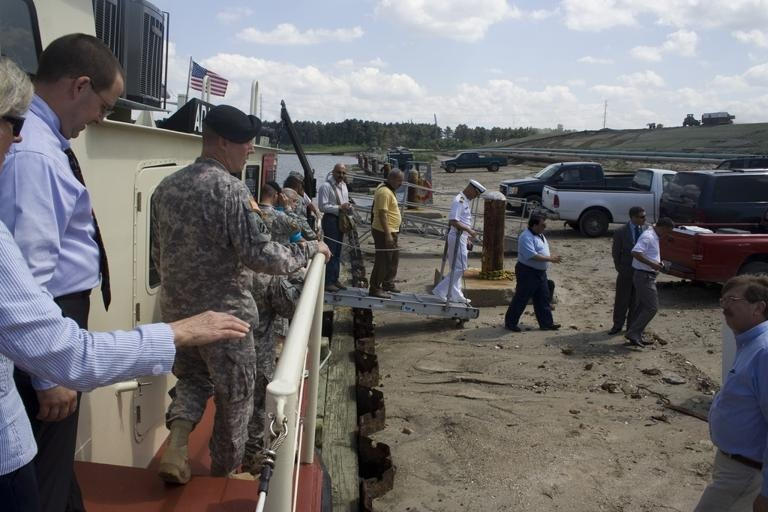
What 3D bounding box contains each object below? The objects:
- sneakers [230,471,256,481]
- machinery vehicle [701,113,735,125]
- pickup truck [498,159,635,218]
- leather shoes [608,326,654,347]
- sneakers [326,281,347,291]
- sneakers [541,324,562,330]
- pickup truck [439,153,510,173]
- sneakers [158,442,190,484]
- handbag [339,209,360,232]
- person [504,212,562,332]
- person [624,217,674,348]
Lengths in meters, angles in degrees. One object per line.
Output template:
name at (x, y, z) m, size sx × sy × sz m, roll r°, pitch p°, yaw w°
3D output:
sneakers at (-0.843, 1.311, 3.257) m, size 0.156 × 0.037 × 0.120 m, roll 3°, pitch -2°, yaw 0°
machinery vehicle at (46.826, -19.131, 76.382) m, size 3.421 × 1.640 × 1.522 m, roll 11°, pitch 18°, yaw 43°
pickup truck at (6.576, -2.269, 19.383) m, size 5.940 × 1.767 × 2.352 m, roll 2°, pitch 9°, yaw 3°
leather shoes at (3.937, 1.255, 8.460) m, size 0.772 × 0.259 × 0.210 m, roll -1°, pitch 17°, yaw 3°
sneakers at (-0.758, 0.497, 8.793) m, size 0.381 × 0.126 × 0.107 m, roll -3°, pitch 11°, yaw 4°
sneakers at (2.779, 1.181, 9.121) m, size 0.359 × 0.120 × 0.108 m, roll -8°, pitch 9°, yaw 8°
pickup truck at (7.476, -7.704, 44.486) m, size 5.173 × 1.293 × 2.076 m, roll 1°, pitch 11°, yaw 2°
sneakers at (-1.202, 1.213, 3.085) m, size 0.130 × 0.240 × 0.224 m, roll -4°, pitch 49°, yaw -2°
handbag at (-0.642, -0.652, 9.990) m, size 0.356 × 0.508 × 0.481 m, roll -3°, pitch 19°, yaw -10°
person at (2.518, 0.286, 9.045) m, size 0.883 × 1.924 × 0.783 m, roll 4°, pitch 16°, yaw 16°
person at (3.984, 0.401, 8.278) m, size 0.465 × 1.910 × 0.589 m, roll 7°, pitch 17°, yaw 26°
